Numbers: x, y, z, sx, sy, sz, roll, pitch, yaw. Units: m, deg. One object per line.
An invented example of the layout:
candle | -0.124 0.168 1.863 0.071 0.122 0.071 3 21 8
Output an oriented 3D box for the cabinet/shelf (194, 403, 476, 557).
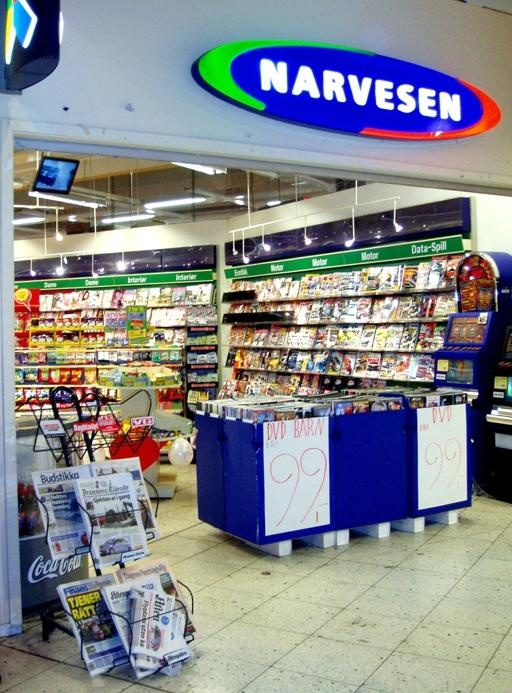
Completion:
cabinet/shelf | 0.666 0.947 4.560 1.969 1.191 0.810 -5 7 -24

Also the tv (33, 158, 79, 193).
tv | -1.446 -1.208 3.932 0.314 0.273 0.080 -8 42 -45

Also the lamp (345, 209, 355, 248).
lamp | 1.255 -1.592 7.621 0.155 0.525 0.289 -1 6 9
